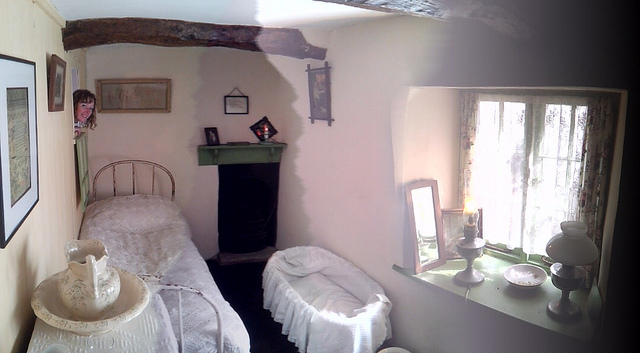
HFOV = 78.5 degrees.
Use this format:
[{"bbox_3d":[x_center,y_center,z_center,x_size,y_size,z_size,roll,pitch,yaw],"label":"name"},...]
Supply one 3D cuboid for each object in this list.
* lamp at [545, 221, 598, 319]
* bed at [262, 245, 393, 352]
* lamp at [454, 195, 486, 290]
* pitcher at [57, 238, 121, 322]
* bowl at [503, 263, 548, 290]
[{"bbox_3d":[1.714,0.656,2.704,0.352,0.589,0.322,5,-3,1],"label":"lamp"},{"bbox_3d":[0.005,1.093,3.549,0.758,0.328,1.169,-8,19,-33],"label":"bed"},{"bbox_3d":[1.203,0.522,3.111,0.253,0.695,0.181,-8,11,-39],"label":"lamp"},{"bbox_3d":[-1.298,0.585,2.185,0.327,0.387,0.349,-6,26,-43],"label":"pitcher"},{"bbox_3d":[1.586,0.774,3.056,0.295,0.136,0.242,-7,10,-36],"label":"bowl"}]
